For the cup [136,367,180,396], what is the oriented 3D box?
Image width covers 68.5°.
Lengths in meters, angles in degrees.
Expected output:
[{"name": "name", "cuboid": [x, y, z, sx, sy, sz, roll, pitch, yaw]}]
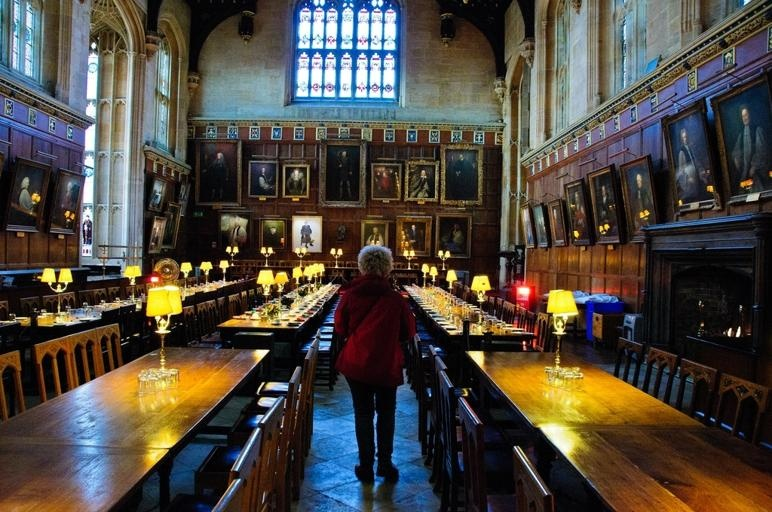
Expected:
[{"name": "cup", "cuboid": [-2.213, 1.205, 5.478, 0.239, 0.129, 0.250, 0, 1, 0]}]
